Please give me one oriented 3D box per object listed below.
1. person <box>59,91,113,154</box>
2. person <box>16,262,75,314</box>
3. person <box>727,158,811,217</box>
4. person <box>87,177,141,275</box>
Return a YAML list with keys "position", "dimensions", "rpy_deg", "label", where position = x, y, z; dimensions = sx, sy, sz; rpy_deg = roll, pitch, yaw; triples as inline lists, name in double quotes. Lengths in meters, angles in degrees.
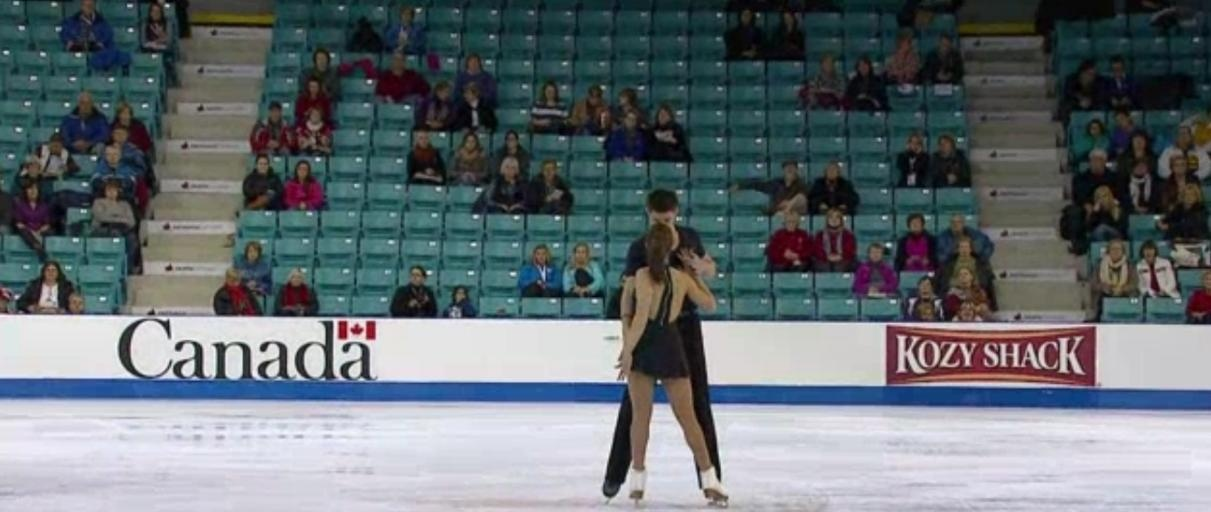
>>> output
- position: [-14.568, -3.557, 64.641]
  dimensions: [1.268, 2.078, 0.947]
  rpy_deg: [1, -1, -28]
  label: "person"
- position: [-15.021, 1.011, 62.130]
  dimensions: [1.620, 1.969, 0.839]
  rpy_deg: [1, -2, -13]
  label: "person"
- position: [4.786, -1.880, 64.723]
  dimensions: [1.733, 1.465, 0.787]
  rpy_deg: [2, 5, 43]
  label: "person"
- position: [-13.480, -0.802, 63.411]
  dimensions: [1.313, 2.619, 0.540]
  rpy_deg: [-2, 4, -11]
  label: "person"
